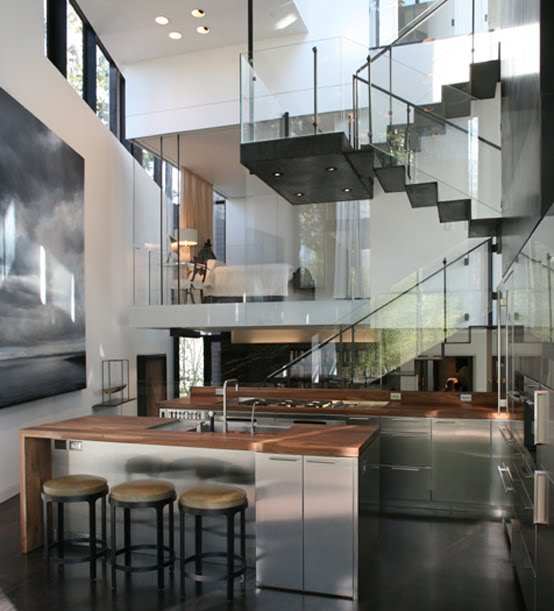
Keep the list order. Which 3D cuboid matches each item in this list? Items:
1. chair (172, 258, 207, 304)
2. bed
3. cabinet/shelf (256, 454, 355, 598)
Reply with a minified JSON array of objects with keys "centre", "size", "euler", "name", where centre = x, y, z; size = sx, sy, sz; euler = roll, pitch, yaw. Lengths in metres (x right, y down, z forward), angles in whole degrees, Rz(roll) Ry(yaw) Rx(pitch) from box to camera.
[{"centre":[-1.322,-0.332,9.651],"size":[0.499,0.888,0.524],"euler":[0,-2,24],"name":"chair"},{"centre":[-0.313,-0.283,8.775],"size":[0.633,0.597,2.142],"euler":[-1,5,-29],"name":"bed"},{"centre":[0.210,1.304,4.201],"size":[0.670,1.125,0.702],"euler":[-1,-6,14],"name":"cabinet/shelf"}]
